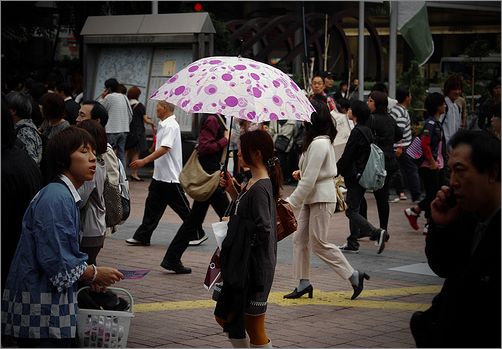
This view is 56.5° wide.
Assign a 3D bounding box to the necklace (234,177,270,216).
[{"bbox_3d":[0.013,0.191,3.876,0.150,0.263,0.273,26,12,2],"label":"necklace"}]

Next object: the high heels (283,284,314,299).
[{"bbox_3d":[0.615,1.517,6.106,0.421,0.182,0.155,-2,0,-2],"label":"high heels"}]

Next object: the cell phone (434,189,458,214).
[{"bbox_3d":[1.022,0.133,2.498,0.128,0.128,0.035,50,1,-29],"label":"cell phone"}]

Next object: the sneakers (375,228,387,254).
[{"bbox_3d":[2.168,1.108,7.770,0.158,0.402,0.137,11,32,25],"label":"sneakers"}]

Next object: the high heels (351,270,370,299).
[{"bbox_3d":[1.427,1.413,6.055,0.182,0.471,0.173,14,12,-4],"label":"high heels"}]

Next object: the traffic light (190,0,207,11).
[{"bbox_3d":[-2.163,-6.953,18.657,0.630,0.638,0.200,1,0,-24],"label":"traffic light"}]

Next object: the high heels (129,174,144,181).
[{"bbox_3d":[-3.742,0.112,14.951,0.508,0.229,0.173,2,2,10],"label":"high heels"}]

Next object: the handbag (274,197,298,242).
[{"bbox_3d":[0.332,0.434,4.357,0.183,0.419,0.323,2,6,7],"label":"handbag"}]

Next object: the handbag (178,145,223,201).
[{"bbox_3d":[-0.790,-0.011,7.346,0.590,0.793,0.427,21,-34,5],"label":"handbag"}]
